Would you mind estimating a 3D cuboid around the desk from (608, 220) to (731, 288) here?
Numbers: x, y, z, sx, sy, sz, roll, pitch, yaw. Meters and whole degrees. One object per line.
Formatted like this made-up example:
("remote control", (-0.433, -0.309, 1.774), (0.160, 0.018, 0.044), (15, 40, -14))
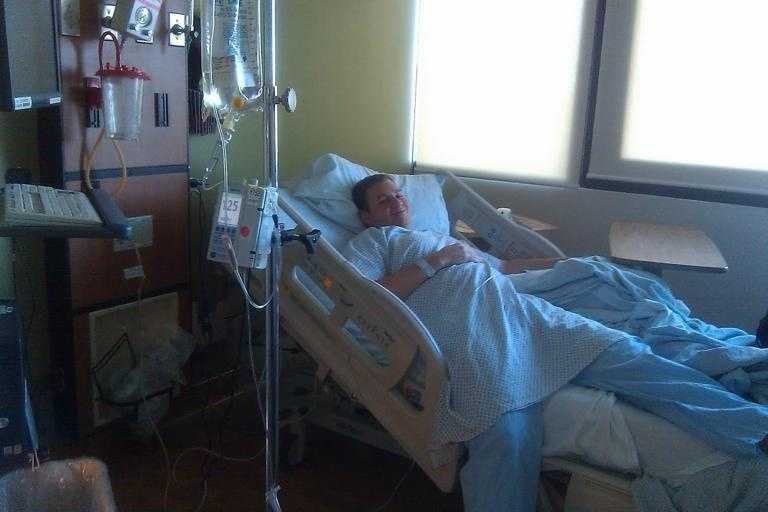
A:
("desk", (1.230, -0.039, 2.712), (0.364, 0.378, 0.344), (7, 39, 6))
